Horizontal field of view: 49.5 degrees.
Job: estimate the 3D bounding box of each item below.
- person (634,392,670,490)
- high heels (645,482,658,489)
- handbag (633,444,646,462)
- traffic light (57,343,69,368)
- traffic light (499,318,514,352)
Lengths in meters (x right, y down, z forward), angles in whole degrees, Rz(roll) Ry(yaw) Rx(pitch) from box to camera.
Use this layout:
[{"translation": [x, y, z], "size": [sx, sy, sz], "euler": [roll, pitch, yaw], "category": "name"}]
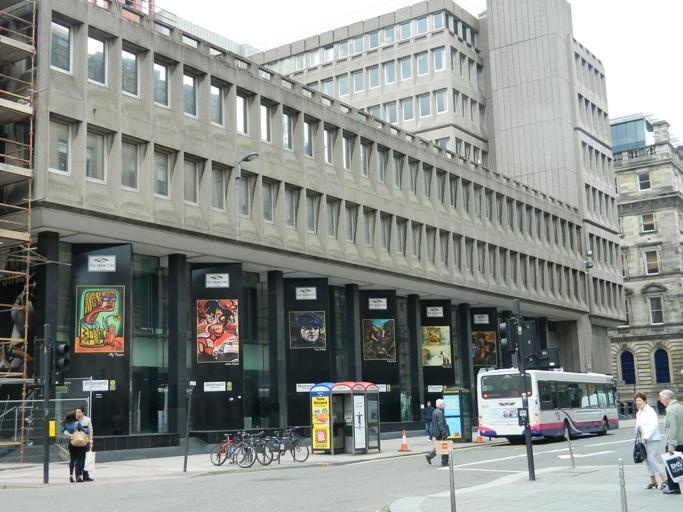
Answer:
[{"translation": [7.665, 4.607, 18.348], "size": [0.809, 3.144, 1.209], "euler": [-2, -6, 29], "category": "person"}, {"translation": [7.662, 5.630, 18.272], "size": [0.342, 0.159, 0.119], "euler": [7, -15, -7], "category": "high heels"}, {"translation": [7.335, 4.769, 18.133], "size": [0.284, 0.454, 0.635], "euler": [-8, -14, 21], "category": "handbag"}, {"translation": [-8.552, 3.000, 22.710], "size": [0.327, 0.745, 0.543], "euler": [3, -14, -22], "category": "traffic light"}, {"translation": [4.709, 2.165, 21.009], "size": [0.384, 0.926, 0.726], "euler": [-5, -14, 13], "category": "traffic light"}]
